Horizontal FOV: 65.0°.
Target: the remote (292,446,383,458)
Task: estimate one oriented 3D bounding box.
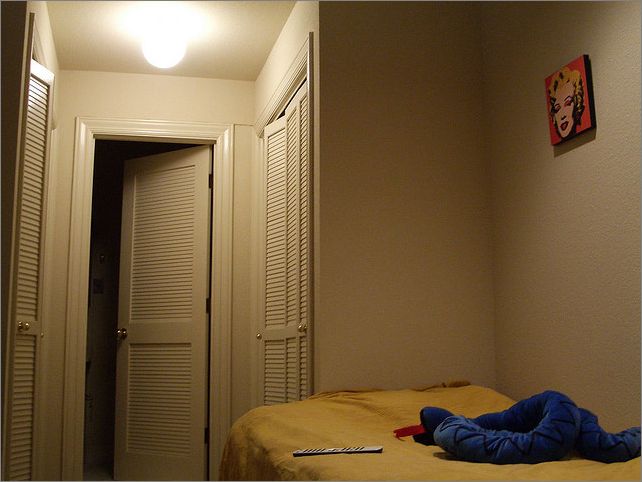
[{"bbox_3d":[0.061,0.692,1.663,0.188,0.014,0.044,-5,1,9],"label":"remote"}]

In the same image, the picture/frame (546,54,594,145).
[{"bbox_3d":[1.166,-0.653,2.350,0.050,0.360,0.264,-2,-11,-15],"label":"picture/frame"}]
